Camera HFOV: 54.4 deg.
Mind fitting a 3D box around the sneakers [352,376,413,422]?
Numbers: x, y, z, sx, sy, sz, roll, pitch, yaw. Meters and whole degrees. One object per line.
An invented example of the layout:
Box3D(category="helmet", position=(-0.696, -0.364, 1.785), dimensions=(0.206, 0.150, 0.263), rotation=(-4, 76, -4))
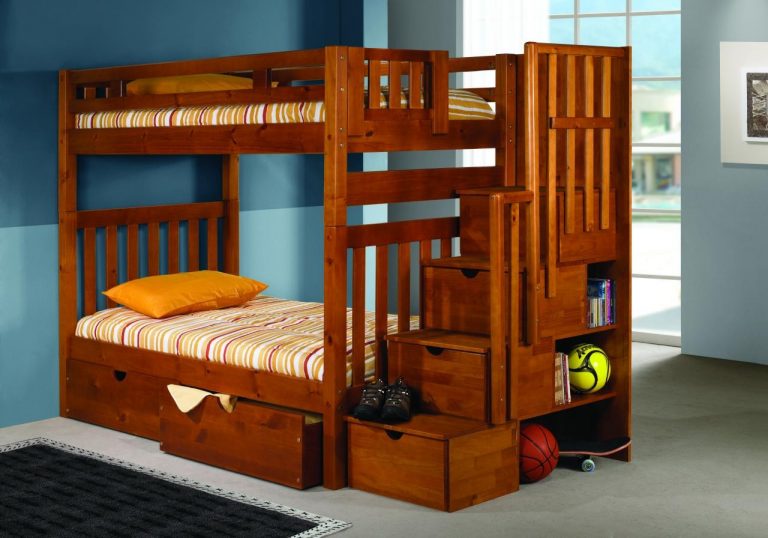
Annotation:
Box3D(category="sneakers", position=(0.004, 0.593, 3.332), dimensions=(0.245, 0.150, 0.212), rotation=(2, 9, 11))

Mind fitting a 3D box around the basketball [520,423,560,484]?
Box3D(category="basketball", position=(0.713, 0.849, 3.462), dimensions=(0.178, 0.239, 0.119), rotation=(0, 9, 3))

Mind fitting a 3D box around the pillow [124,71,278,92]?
Box3D(category="pillow", position=(-1.035, -1.021, 4.063), dimensions=(0.548, 0.074, 0.347), rotation=(-3, 9, -14))

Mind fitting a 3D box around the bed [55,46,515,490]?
Box3D(category="bed", position=(-0.120, -0.326, 4.936), dimensions=(2.815, 2.180, 3.457), rotation=(4, 10, 26))

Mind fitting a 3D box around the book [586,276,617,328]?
Box3D(category="book", position=(1.076, 0.170, 3.698), dimensions=(0.135, 0.226, 0.146), rotation=(2, 9, 13))

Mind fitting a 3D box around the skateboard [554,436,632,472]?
Box3D(category="skateboard", position=(1.089, 0.898, 3.644), dimensions=(0.507, 0.072, 0.136), rotation=(-4, 16, 4))
